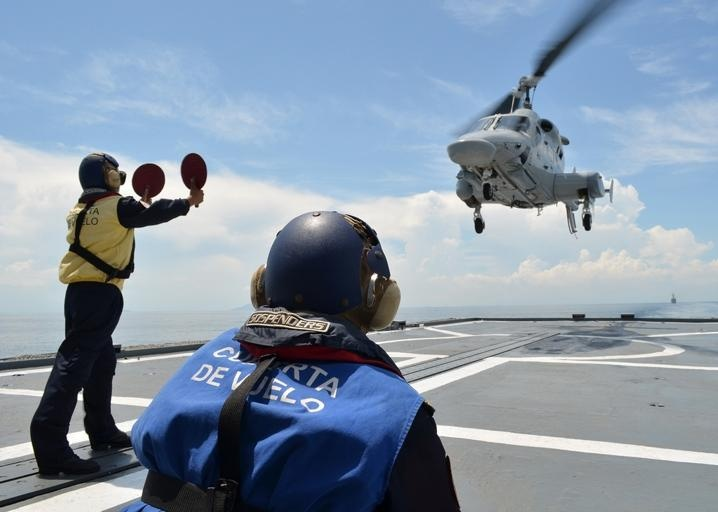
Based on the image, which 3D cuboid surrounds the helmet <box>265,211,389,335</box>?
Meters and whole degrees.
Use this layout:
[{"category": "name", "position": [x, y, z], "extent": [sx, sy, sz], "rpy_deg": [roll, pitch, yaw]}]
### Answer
[{"category": "helmet", "position": [-0.109, 0.022, 2.116], "extent": [0.542, 0.424, 0.503], "rpy_deg": [2, 15, 27]}]

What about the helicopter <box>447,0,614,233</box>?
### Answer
[{"category": "helicopter", "position": [5.950, -4.546, 16.745], "extent": [6.581, 3.384, 8.571], "rpy_deg": [7, -13, 33]}]
